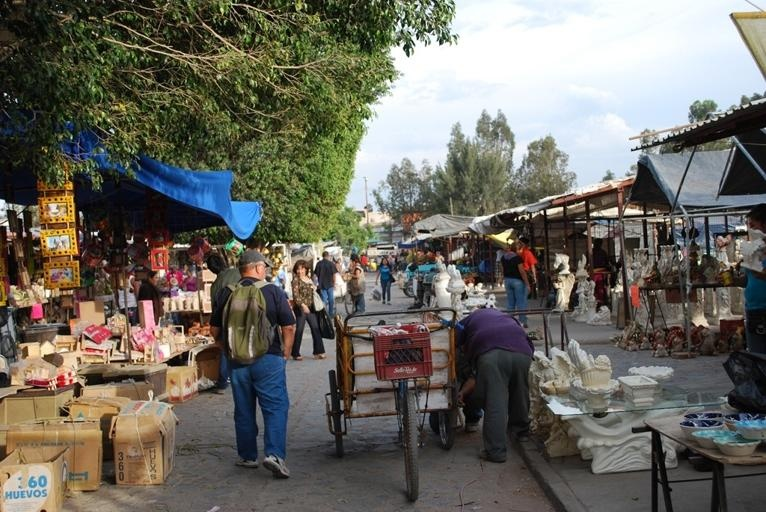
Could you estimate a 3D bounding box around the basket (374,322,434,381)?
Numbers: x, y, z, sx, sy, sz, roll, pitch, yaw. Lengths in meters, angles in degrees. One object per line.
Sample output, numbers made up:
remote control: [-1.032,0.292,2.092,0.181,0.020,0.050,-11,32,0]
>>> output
basket: [0.230,1.086,7.256,0.609,0.464,0.624,0,-8,-9]

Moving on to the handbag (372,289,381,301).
handbag: [-0.267,1.649,27.442,0.449,0.539,0.317,6,-7,7]

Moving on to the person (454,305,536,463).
person: [1.414,1.541,7.968,0.752,1.735,0.812,-7,9,-20]

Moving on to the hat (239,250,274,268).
hat: [-1.550,0.031,7.969,0.341,0.203,0.252,-2,1,-23]

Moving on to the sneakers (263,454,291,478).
sneakers: [-1.229,2.431,7.540,0.289,0.318,0.212,-6,8,-13]

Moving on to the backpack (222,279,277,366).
backpack: [-1.577,0.810,7.586,0.539,0.896,0.304,-2,8,14]

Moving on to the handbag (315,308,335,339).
handbag: [-1.159,1.353,12.817,0.224,0.705,1.115,-17,-1,-8]

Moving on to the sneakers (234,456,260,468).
sneakers: [-1.631,2.479,7.865,0.234,0.122,0.111,5,2,38]
